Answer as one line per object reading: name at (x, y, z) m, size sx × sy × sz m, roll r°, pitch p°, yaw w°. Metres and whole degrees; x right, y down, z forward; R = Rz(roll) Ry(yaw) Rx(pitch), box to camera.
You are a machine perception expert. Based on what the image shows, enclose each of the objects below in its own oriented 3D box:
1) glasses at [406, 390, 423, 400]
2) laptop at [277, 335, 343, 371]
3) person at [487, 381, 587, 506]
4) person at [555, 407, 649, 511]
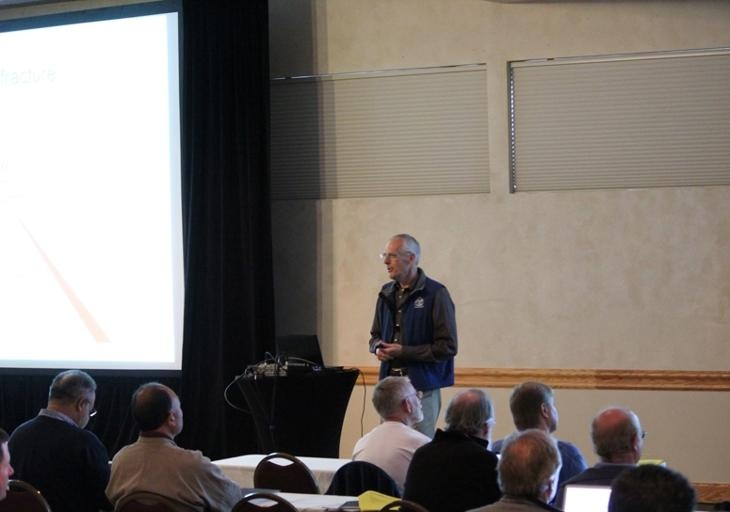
glasses at (0.341, 0.967, 6.974) m, size 0.137 × 0.045 × 0.147 m, roll 1°, pitch -11°, yaw -4°
laptop at (-0.501, 0.730, 7.703) m, size 0.335 × 0.201 × 0.300 m, roll 1°, pitch 3°, yaw -8°
person at (1.179, 1.270, 6.764) m, size 0.490 × 0.791 × 0.887 m, roll 6°, pitch -14°, yaw -40°
person at (1.532, 1.309, 6.402) m, size 0.732 × 0.759 × 0.396 m, roll 0°, pitch -7°, yaw 36°
